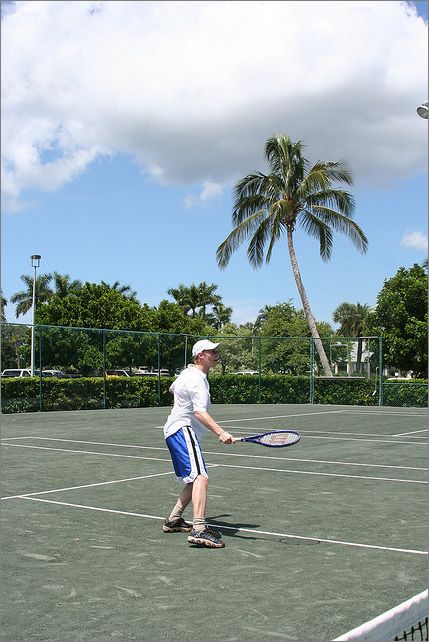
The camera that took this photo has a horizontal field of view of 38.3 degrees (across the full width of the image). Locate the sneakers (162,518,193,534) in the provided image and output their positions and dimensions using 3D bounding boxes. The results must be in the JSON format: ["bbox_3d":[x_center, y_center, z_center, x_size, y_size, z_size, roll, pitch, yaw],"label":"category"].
[{"bbox_3d":[-0.302,1.774,5.370,0.274,0.142,0.114,4,-3,-21],"label":"sneakers"}]

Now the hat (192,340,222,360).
[{"bbox_3d":[-0.062,0.243,5.187,0.210,0.120,0.137,-23,3,12],"label":"hat"}]

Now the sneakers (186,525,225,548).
[{"bbox_3d":[-0.069,1.688,4.828,0.348,0.174,0.126,7,-32,9],"label":"sneakers"}]

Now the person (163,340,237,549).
[{"bbox_3d":[-0.146,0.975,5.044,0.559,1.661,0.925,-1,-4,-6],"label":"person"}]
